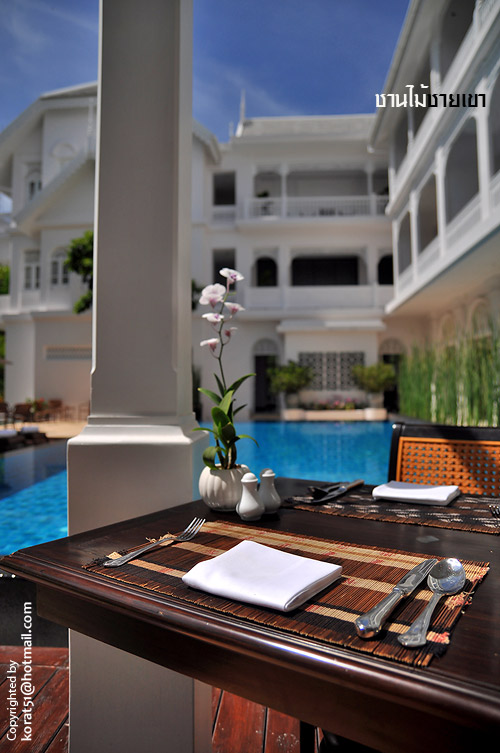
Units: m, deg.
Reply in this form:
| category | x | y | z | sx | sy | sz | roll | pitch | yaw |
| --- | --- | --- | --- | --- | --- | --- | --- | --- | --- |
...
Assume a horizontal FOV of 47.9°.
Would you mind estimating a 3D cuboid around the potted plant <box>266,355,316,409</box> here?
| category | x | y | z | sx | sy | sz | roll | pitch | yaw |
| --- | --- | --- | --- | --- | --- | --- | --- | --- | --- |
| potted plant | 0.873 | 0.181 | 12.111 | 0.921 | 1.048 | 0.584 | 3 | 3 | 6 |

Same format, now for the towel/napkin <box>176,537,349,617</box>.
| category | x | y | z | sx | sy | sz | roll | pitch | yaw |
| --- | --- | --- | --- | --- | --- | --- | --- | --- | --- |
| towel/napkin | 0.019 | 0.196 | 0.561 | 0.120 | 0.018 | 0.141 | -1 | -3 | 31 |

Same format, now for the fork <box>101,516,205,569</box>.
| category | x | y | z | sx | sy | sz | roll | pitch | yaw |
| --- | --- | --- | --- | --- | --- | --- | --- | --- | --- |
| fork | -0.107 | 0.186 | 0.730 | 0.027 | 0.031 | 0.207 | 6 | 11 | 28 |

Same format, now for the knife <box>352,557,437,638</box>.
| category | x | y | z | sx | sy | sz | roll | pitch | yaw |
| --- | --- | --- | --- | --- | --- | --- | --- | --- | --- |
| knife | 0.143 | 0.180 | 0.538 | 0.030 | 0.023 | 0.185 | 0 | 10 | 32 |
